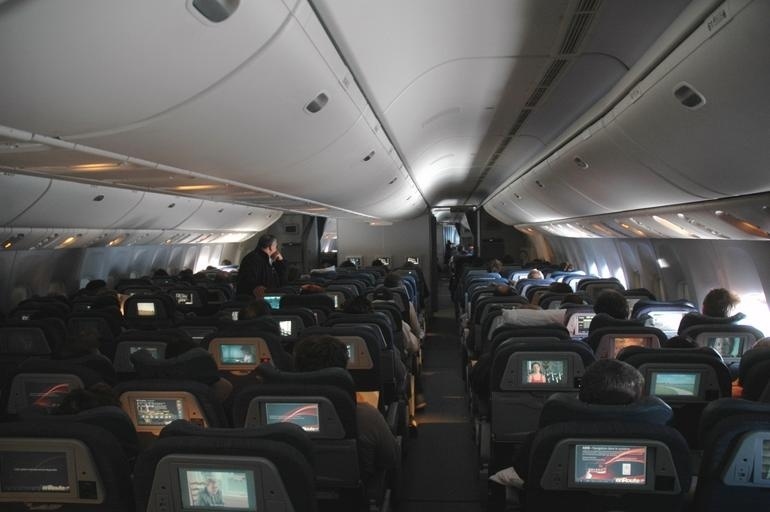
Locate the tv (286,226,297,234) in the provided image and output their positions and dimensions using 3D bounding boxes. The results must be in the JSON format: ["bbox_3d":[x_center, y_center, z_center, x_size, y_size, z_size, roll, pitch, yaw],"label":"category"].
[{"bbox_3d":[-3.455,-1.019,19.771,0.438,0.270,0.062,1,0,11],"label":"tv"}]

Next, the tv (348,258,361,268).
[{"bbox_3d":[-0.972,0.206,17.409,0.379,0.185,0.337,17,-1,30],"label":"tv"}]

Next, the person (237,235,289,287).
[{"bbox_3d":[-2.502,0.083,11.273,0.708,0.682,1.791,6,-51,-15],"label":"person"}]
